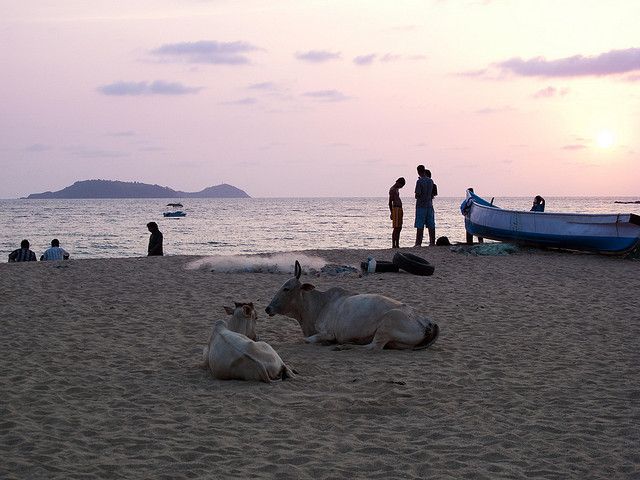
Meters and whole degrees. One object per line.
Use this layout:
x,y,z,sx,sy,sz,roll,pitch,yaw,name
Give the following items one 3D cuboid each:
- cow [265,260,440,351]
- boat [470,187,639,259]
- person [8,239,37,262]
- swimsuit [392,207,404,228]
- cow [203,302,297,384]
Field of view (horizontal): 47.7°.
0.460,1.047,11.066,2.785,1.120,0.900,2,-3,24,cow
6.880,-0.357,21.941,0.800,1.291,5.951,-6,10,-27,boat
-11.254,0.355,27.367,0.902,0.896,0.589,12,-12,-28,person
2.363,-0.704,21.743,0.301,0.645,0.614,0,10,4,swimsuit
-1.019,1.424,10.176,1.239,0.783,2.021,2,9,-17,cow
